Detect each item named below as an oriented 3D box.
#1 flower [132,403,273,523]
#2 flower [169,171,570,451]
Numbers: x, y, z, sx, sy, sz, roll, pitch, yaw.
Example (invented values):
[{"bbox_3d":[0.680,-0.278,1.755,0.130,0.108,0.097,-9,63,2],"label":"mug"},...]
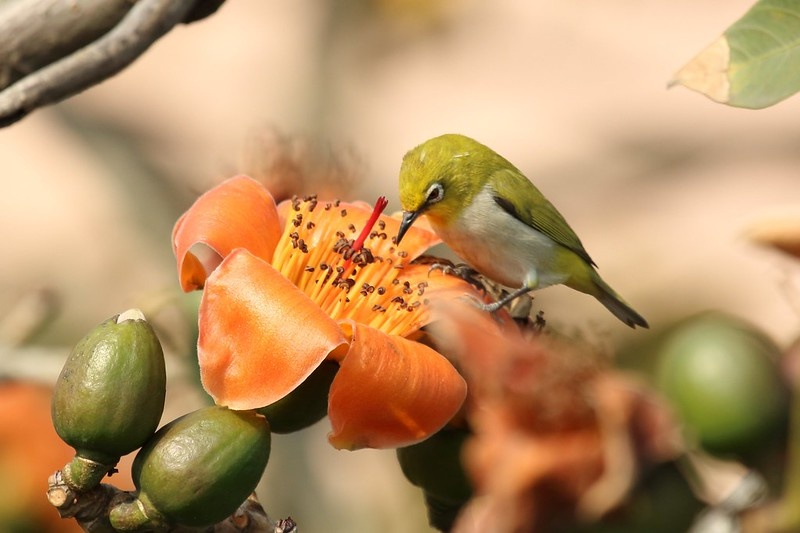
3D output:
[{"bbox_3d":[-0.351,0.356,1.549,0.233,0.187,0.116,0,18,-16],"label":"flower"},{"bbox_3d":[-0.152,0.035,1.692,0.633,0.296,0.627,33,25,11],"label":"flower"}]
